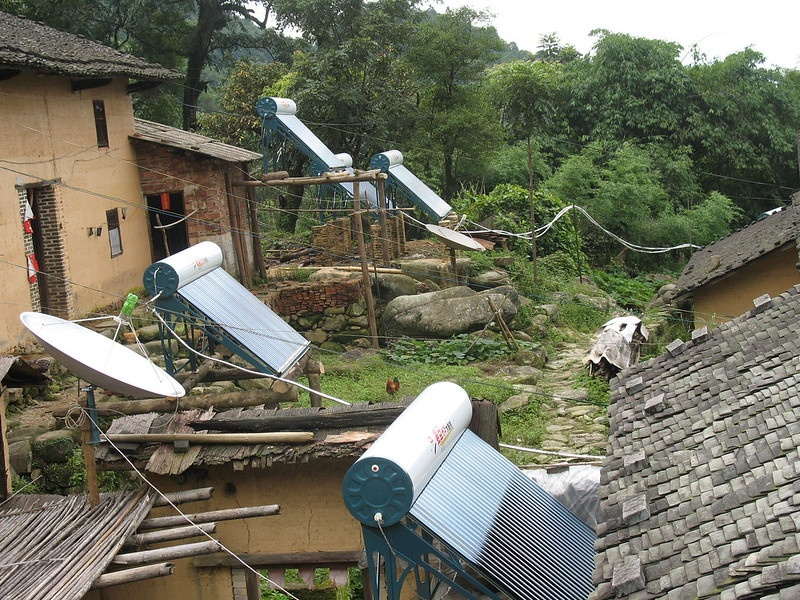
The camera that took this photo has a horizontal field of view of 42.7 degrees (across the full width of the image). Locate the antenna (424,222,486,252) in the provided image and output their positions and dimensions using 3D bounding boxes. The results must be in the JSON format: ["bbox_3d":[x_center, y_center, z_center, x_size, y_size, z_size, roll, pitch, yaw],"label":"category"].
[{"bbox_3d":[1.567,-1.754,29.951,1.546,0.712,1.211,7,17,-5],"label":"antenna"}]

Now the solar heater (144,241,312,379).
[{"bbox_3d":[-3.494,0.092,20.757,2.850,1.985,2.880,11,16,-4],"label":"solar heater"}]

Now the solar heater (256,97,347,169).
[{"bbox_3d":[-2.909,-4.974,30.250,2.827,1.282,1.856,27,17,7],"label":"solar heater"}]
